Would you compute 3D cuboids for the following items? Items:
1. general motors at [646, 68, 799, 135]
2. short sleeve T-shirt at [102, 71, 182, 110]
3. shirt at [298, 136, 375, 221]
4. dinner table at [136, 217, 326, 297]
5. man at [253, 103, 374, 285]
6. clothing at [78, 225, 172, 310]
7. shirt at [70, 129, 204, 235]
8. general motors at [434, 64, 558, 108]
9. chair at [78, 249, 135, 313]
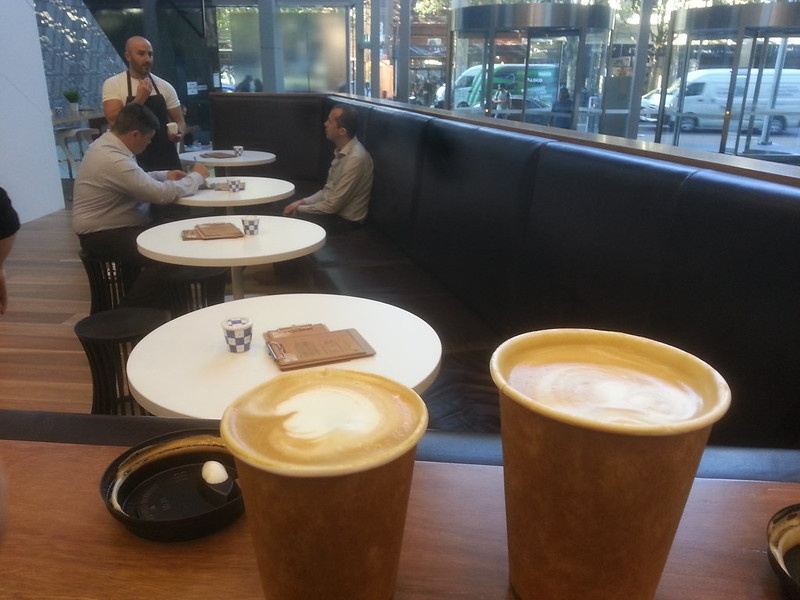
[{"bbox_3d":[4.352,-2.577,8.054,1.671,0.648,0.722,1,40,9],"label":"general motors"},{"bbox_3d":[-2.069,-1.607,4.996,0.613,0.389,0.251,-6,34,-27],"label":"short sleeve T-shirt"},{"bbox_3d":[-0.418,-0.909,4.735,0.749,0.713,0.560,4,35,-6],"label":"shirt"},{"bbox_3d":[-0.729,-0.263,2.738,0.560,0.331,0.497,1,26,-2],"label":"dinner table"},{"bbox_3d":[-0.645,-0.772,4.713,0.893,1.301,0.579,2,24,-9],"label":"man"},{"bbox_3d":[-1.675,-0.124,3.654,0.337,0.317,0.332,-6,-16,33],"label":"clothing"},{"bbox_3d":[-1.697,-0.725,3.760,0.856,0.621,0.551,-8,36,-24],"label":"shirt"},{"bbox_3d":[1.490,-3.125,9.173,1.741,0.729,0.470,-3,34,-13],"label":"general motors"},{"bbox_3d":[-1.657,-0.158,3.575,0.226,0.239,0.179,-32,46,-26],"label":"chair"}]
